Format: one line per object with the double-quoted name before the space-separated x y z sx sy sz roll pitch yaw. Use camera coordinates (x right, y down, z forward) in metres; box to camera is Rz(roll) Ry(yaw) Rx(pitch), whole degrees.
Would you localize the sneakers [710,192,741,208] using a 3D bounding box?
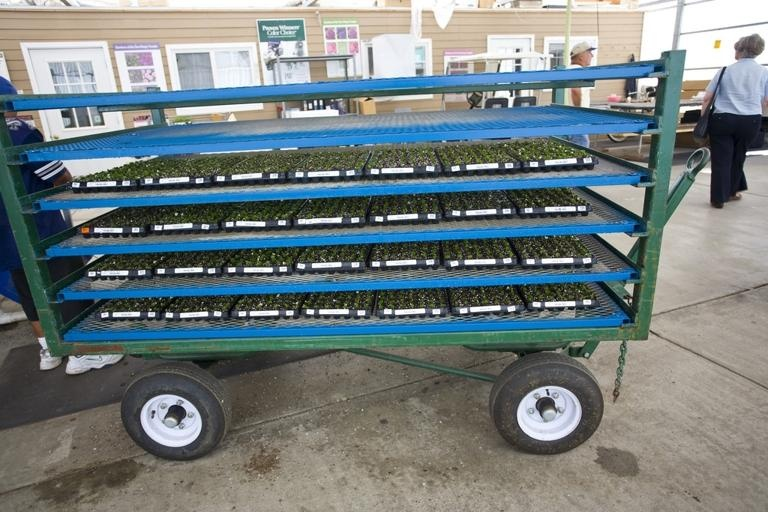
"sneakers" 5.594 -0.914 8.483 0.513 0.170 0.156 -18 31 -9
